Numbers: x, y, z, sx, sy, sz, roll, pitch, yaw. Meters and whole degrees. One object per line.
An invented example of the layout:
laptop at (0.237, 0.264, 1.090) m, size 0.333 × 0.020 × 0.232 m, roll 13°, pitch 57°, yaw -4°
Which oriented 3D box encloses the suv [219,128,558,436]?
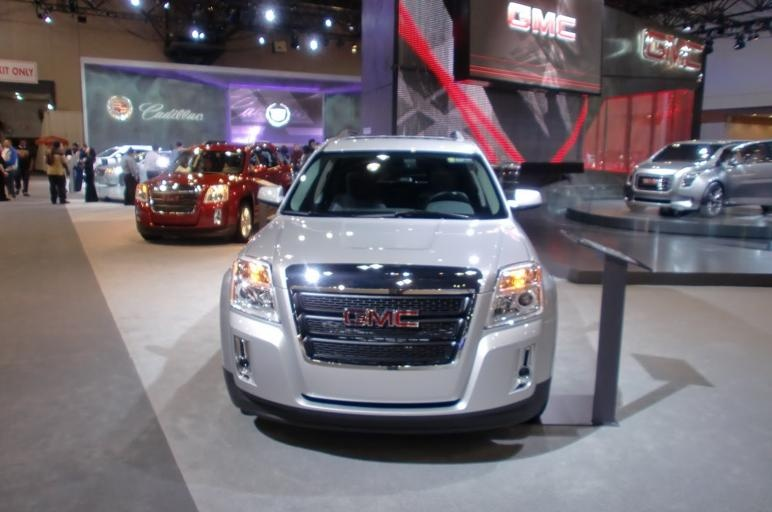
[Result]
suv at (0.100, -0.080, 4.512) m, size 1.888 × 1.618 × 3.130 m, roll 0°, pitch 5°, yaw 4°
